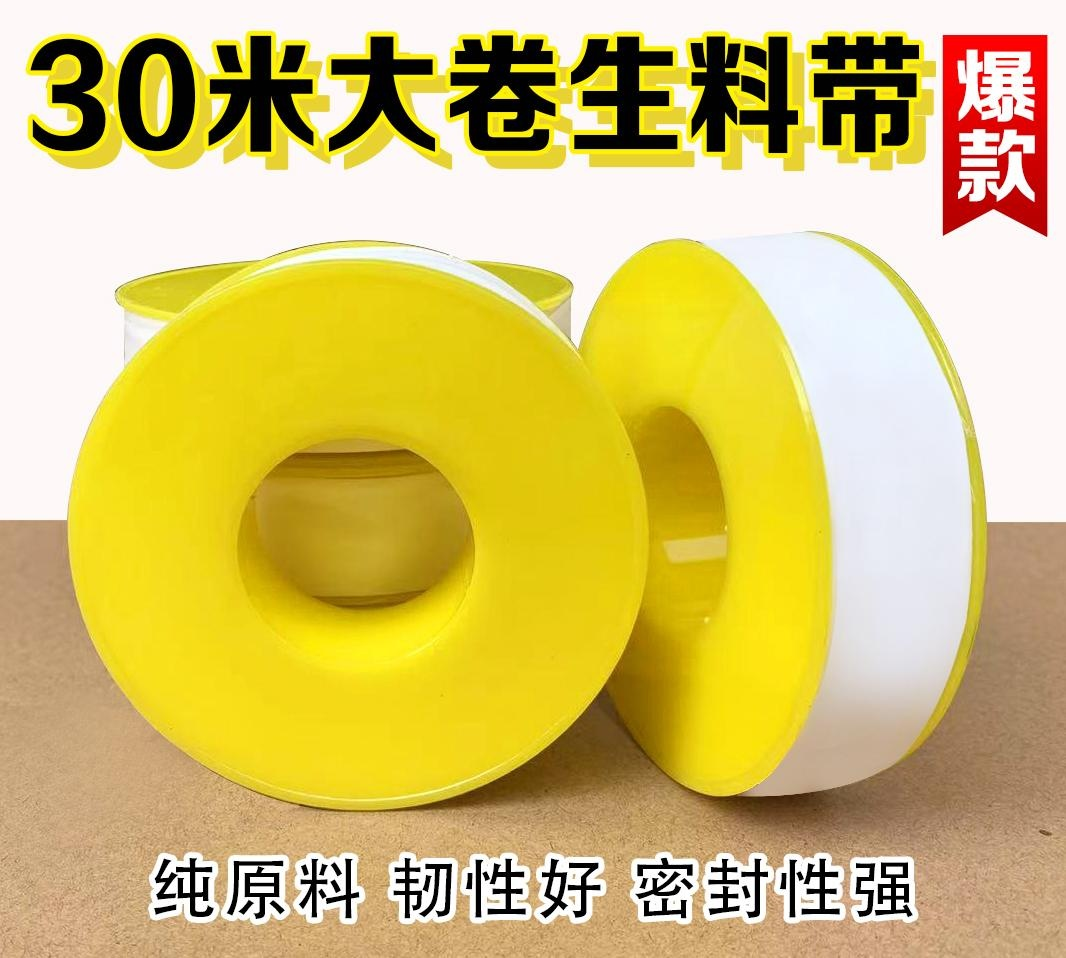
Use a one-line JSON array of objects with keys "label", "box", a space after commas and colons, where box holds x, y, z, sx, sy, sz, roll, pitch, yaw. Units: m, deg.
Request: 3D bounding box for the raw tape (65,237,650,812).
[{"label": "raw tape", "box": [-0.268, 0.108, 1.757, 0.877, 0.548, 0.667, 9, 65, 2]}]

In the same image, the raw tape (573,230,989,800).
[{"label": "raw tape", "box": [0.370, 0.086, 1.735, 0.247, 0.801, 0.879, -6, 99, -26]}]
